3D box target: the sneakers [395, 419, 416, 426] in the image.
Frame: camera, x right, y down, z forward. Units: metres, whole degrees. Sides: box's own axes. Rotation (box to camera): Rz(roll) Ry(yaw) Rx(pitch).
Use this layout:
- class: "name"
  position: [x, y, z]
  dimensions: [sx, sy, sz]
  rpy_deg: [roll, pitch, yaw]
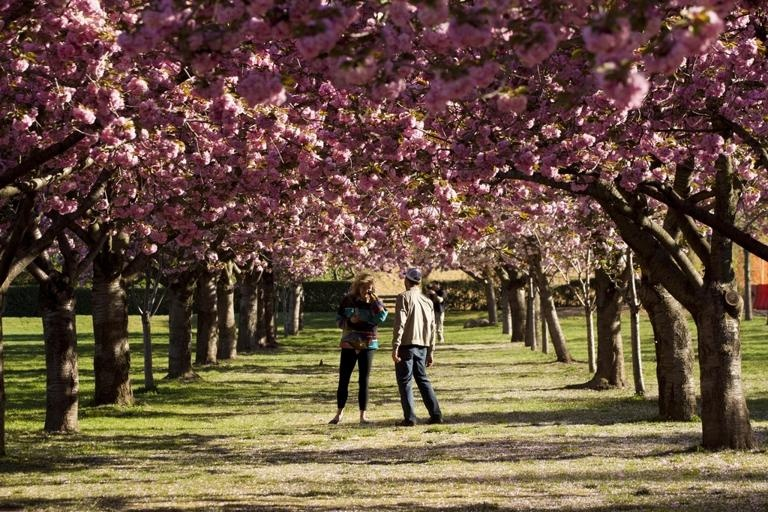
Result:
- class: "sneakers"
  position: [0.377, 3.185, 26.416]
  dimensions: [0.366, 0.146, 0.133]
  rpy_deg: [1, -3, 30]
